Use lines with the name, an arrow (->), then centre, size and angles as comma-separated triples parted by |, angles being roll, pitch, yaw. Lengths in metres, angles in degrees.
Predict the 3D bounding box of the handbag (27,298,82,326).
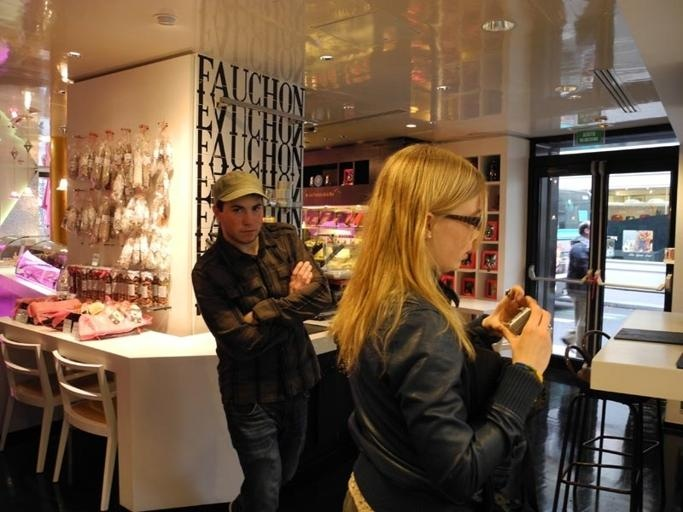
handbag -> -2.257, 0.422, 3.884 | 0.277, 0.112, 0.283 | 11, 11, 30
